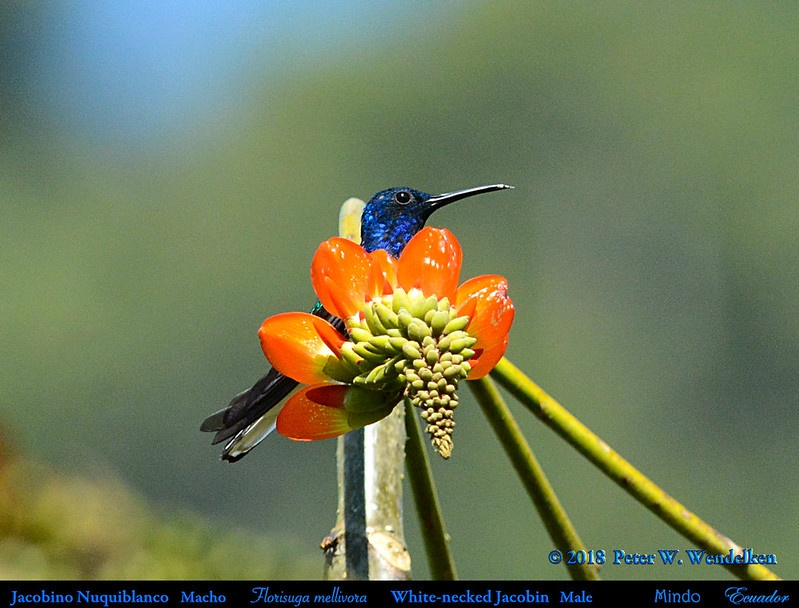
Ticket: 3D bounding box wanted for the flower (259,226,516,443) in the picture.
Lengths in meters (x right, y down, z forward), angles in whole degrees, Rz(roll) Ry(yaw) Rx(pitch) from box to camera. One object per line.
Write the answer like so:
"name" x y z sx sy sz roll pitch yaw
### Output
"flower" -0.027 0.092 1.742 0.502 0.398 0.424 -8 45 -25
